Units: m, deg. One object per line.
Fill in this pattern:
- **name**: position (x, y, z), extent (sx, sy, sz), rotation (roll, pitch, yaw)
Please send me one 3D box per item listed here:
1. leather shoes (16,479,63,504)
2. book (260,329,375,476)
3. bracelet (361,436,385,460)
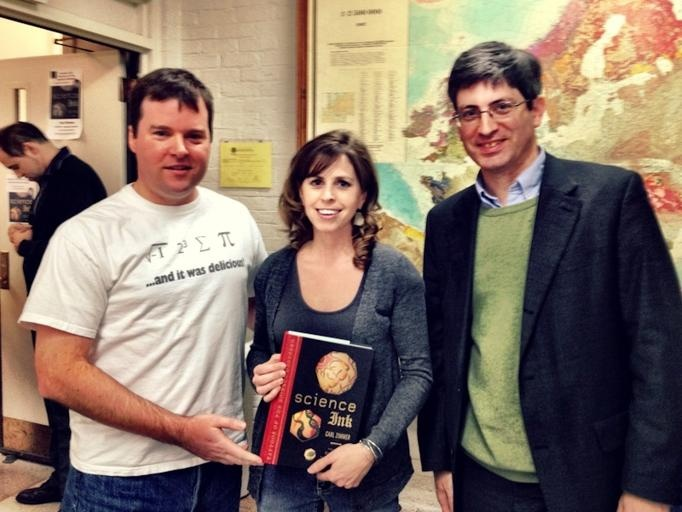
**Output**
- **leather shoes**: position (-1.555, 1.287, 3.255), extent (0.350, 0.105, 0.105), rotation (4, -3, -8)
- **book**: position (-0.081, 0.475, 1.962), extent (0.346, 0.432, 0.130), rotation (2, 15, 8)
- **bracelet**: position (0.104, 0.626, 1.938), extent (0.072, 0.034, 0.061), rotation (39, -9, 24)
